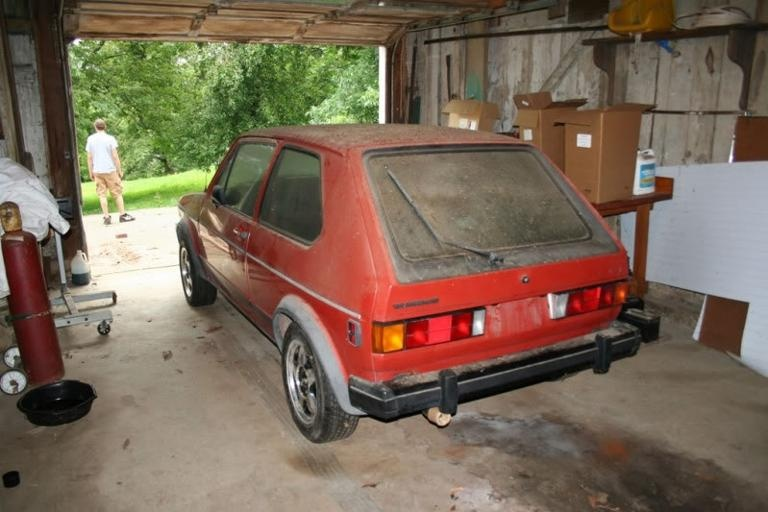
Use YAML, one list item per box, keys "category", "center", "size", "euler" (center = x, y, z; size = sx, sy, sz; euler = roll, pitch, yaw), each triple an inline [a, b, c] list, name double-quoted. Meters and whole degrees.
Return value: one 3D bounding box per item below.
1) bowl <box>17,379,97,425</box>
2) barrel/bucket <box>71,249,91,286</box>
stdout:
- category: "bowl"
  center: [-2.826, 1.293, 4.483]
  size: [0.537, 0.256, 0.488]
  euler: [0, 18, 0]
- category: "barrel/bucket"
  center: [-4.328, 0.153, 7.312]
  size: [0.241, 0.455, 0.349]
  euler: [-12, 21, -31]
